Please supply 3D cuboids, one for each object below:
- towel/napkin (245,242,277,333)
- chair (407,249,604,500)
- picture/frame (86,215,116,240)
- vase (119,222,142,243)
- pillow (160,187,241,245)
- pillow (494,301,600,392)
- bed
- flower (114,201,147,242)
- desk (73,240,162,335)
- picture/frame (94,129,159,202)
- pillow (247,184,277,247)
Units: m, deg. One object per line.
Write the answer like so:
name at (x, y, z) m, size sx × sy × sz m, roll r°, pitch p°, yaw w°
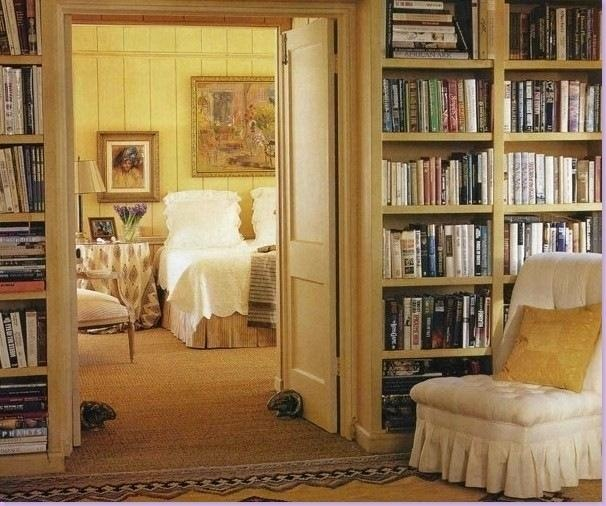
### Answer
towel/napkin at (-0.356, 0.342, 5.384) m, size 0.264 × 0.649 × 0.153 m, roll -1°, pitch 8°, yaw 9°
chair at (0.988, 0.560, 3.253) m, size 1.139 × 1.159 × 0.931 m, roll 2°, pitch -1°, yaw -36°
picture/frame at (-2.194, -0.265, 6.664) m, size 0.288 × 0.256 × 0.026 m, roll -4°, pitch -17°, yaw -13°
vase at (-1.862, -0.215, 6.602) m, size 0.236 × 0.229 × 0.226 m, roll 0°, pitch -1°, yaw 23°
pillow at (-1.095, -0.383, 6.761) m, size 0.840 × 0.599 × 0.623 m, roll -3°, pitch 8°, yaw -10°
pillow at (1.163, 0.430, 2.822) m, size 0.114 × 0.383 × 0.417 m, roll 30°, pitch -16°, yaw -33°
bed at (-0.954, 0.421, 6.037) m, size 1.189 × 0.699 × 1.481 m, roll 4°, pitch 1°, yaw -31°
flower at (-1.802, -0.340, 6.674) m, size 0.449 × 0.432 × 0.443 m, roll 4°, pitch 3°, yaw 29°
desk at (-2.114, 0.189, 6.359) m, size 0.800 × 0.704 × 0.726 m, roll 14°, pitch 8°, yaw -22°
picture/frame at (-1.987, -0.997, 6.797) m, size 0.940 × 0.991 × 0.078 m, roll 0°, pitch 3°, yaw -8°
pillow at (-0.434, -0.403, 6.832) m, size 0.527 × 0.635 × 0.166 m, roll -2°, pitch -9°, yaw 9°
